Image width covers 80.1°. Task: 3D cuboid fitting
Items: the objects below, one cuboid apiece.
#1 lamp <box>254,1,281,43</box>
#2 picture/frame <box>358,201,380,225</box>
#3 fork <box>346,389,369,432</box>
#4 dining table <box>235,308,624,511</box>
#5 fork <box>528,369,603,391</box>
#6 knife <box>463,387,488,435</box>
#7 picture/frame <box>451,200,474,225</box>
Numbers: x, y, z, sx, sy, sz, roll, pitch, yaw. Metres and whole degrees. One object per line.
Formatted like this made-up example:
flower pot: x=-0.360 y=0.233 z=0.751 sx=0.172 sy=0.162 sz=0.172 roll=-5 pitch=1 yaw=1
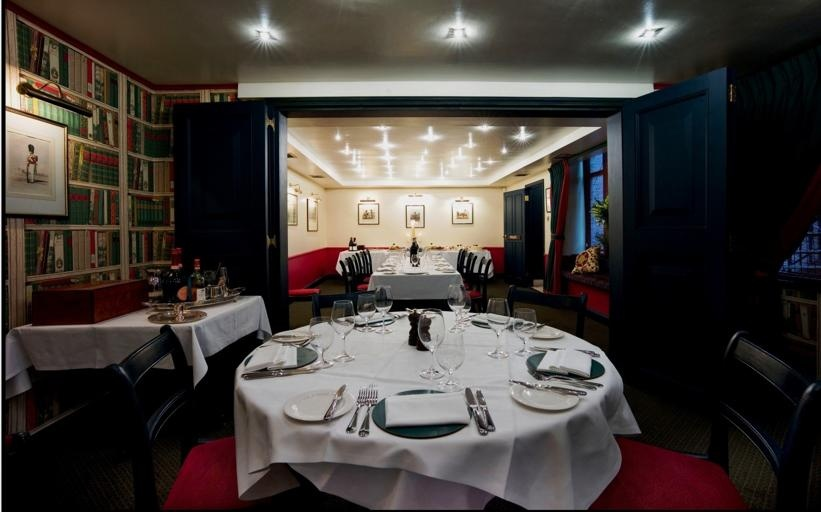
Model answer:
lamp: x=-1.390 y=-2.183 z=4.674 sx=0.181 sy=0.201 sz=0.197 roll=-2 pitch=5 yaw=-8
picture/frame: x=-1.123 y=-1.133 z=12.814 sx=0.605 sy=0.607 sz=0.062 roll=1 pitch=0 yaw=-3
fork: x=-0.347 y=1.022 z=3.177 sx=0.057 sy=0.044 sz=0.385 roll=-7 pitch=35 yaw=15
dining table: x=0.151 y=1.181 z=3.373 sx=2.696 sy=0.899 sz=0.902 roll=-2 pitch=6 yaw=-7
fork: x=1.070 y=0.869 z=3.361 sx=0.354 sy=0.053 sz=0.063 roll=10 pitch=14 yaw=19
knife: x=0.422 y=1.021 z=3.182 sx=0.075 sy=0.039 sz=0.329 roll=-3 pitch=27 yaw=-6
picture/frame: x=1.383 y=-1.148 z=12.850 sx=0.649 sy=0.664 sz=0.065 roll=0 pitch=-2 yaw=-1
